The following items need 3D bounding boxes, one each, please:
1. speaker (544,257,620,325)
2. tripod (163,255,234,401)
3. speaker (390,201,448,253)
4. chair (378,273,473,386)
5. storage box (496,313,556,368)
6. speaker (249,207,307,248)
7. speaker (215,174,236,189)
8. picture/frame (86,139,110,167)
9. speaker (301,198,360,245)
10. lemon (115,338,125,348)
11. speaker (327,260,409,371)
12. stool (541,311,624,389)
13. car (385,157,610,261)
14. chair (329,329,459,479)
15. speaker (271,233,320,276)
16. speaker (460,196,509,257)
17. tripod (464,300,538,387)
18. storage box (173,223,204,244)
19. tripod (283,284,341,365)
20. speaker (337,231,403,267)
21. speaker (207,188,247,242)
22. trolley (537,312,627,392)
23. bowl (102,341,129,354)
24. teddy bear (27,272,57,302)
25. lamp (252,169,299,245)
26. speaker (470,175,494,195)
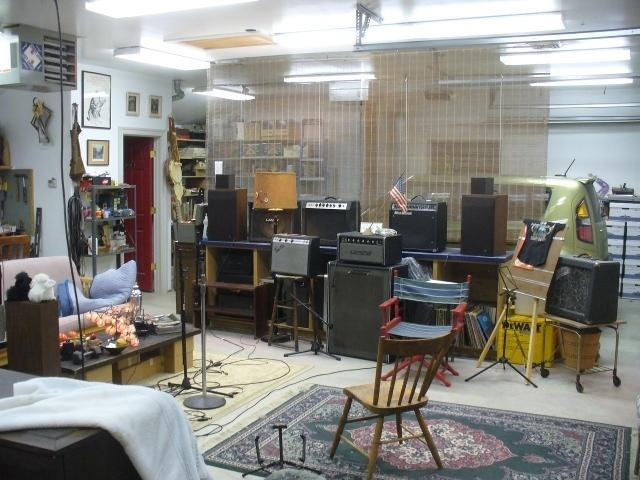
[{"bbox_3d":[2.648,0.499,5.504,0.364,0.605,0.625,4,4,-19],"label":"speaker"},{"bbox_3d":[-1.135,0.801,4.976,0.458,1.159,0.955,-4,9,-33],"label":"tripod"},{"bbox_3d":[1.128,-0.165,6.292,0.584,0.568,0.327,3,11,31],"label":"speaker"},{"bbox_3d":[0.942,0.849,5.039,0.761,0.983,0.648,6,7,26],"label":"chair"},{"bbox_3d":[2.196,1.099,5.832,0.487,0.477,0.367,-3,-21,38],"label":"storage box"},{"bbox_3d":[-0.560,-0.270,6.841,0.655,0.483,0.379,1,25,-5],"label":"speaker"},{"bbox_3d":[-1.223,-0.752,7.051,0.193,0.198,0.199,0,3,2],"label":"speaker"},{"bbox_3d":[-3.276,-1.296,8.056,0.037,0.385,0.429,2,3,26],"label":"picture/frame"},{"bbox_3d":[0.136,-0.220,6.621,0.633,0.630,0.387,4,10,20],"label":"speaker"},{"bbox_3d":[-1.727,0.891,4.746,0.078,0.059,0.069,14,-17,-30],"label":"lemon"},{"bbox_3d":[0.506,0.717,6.046,0.754,1.022,0.641,4,8,17],"label":"speaker"},{"bbox_3d":[2.727,1.067,5.550,0.533,0.819,0.887,0,3,0],"label":"stool"},{"bbox_3d":[2.626,-0.410,7.076,2.160,1.303,1.245,3,5,18],"label":"car"},{"bbox_3d":[0.591,1.037,4.235,0.826,0.993,1.620,2,8,14],"label":"chair"},{"bbox_3d":[-0.283,0.162,6.177,0.492,0.467,0.297,5,4,20],"label":"speaker"},{"bbox_3d":[1.807,-0.165,6.015,0.393,0.676,0.377,4,8,35],"label":"speaker"},{"bbox_3d":[1.792,0.964,5.592,0.617,0.862,0.685,-2,15,-14],"label":"tripod"},{"bbox_3d":[-1.708,-0.112,7.160,0.285,0.264,0.286,2,2,20],"label":"storage box"},{"bbox_3d":[-0.088,0.925,6.110,0.568,0.715,0.503,0,-7,-13],"label":"tripod"},{"bbox_3d":[0.518,0.095,5.773,0.681,0.321,0.337,1,8,6],"label":"speaker"},{"bbox_3d":[-1.154,-0.315,6.885,0.507,0.637,0.315,-1,8,-13],"label":"speaker"},{"bbox_3d":[2.729,1.067,5.518,0.537,0.822,0.895,0,4,2],"label":"trolley"},{"bbox_3d":[-1.786,0.923,4.759,0.208,0.109,0.164,1,8,-1],"label":"bowl"},{"bbox_3d":[-2.068,0.338,4.097,0.201,0.208,0.205,-4,0,10],"label":"teddy bear"},{"bbox_3d":[-0.514,-0.426,6.476,0.534,0.822,0.504,2,12,1],"label":"lamp"},{"bbox_3d":[1.774,-0.592,5.979,0.234,0.179,0.245,2,8,12],"label":"speaker"}]
